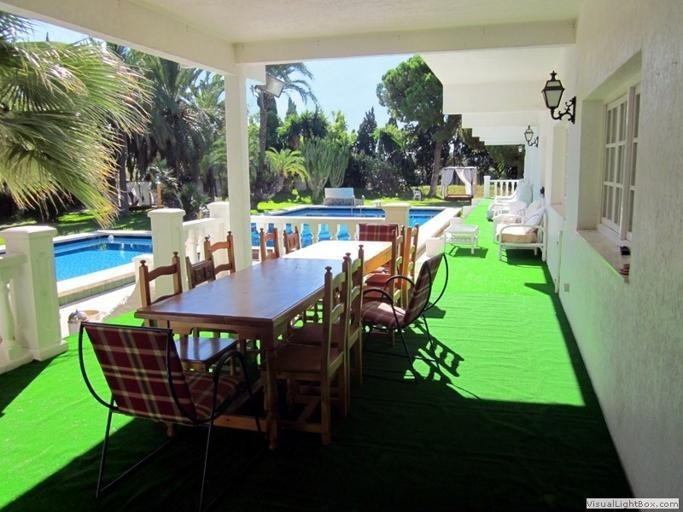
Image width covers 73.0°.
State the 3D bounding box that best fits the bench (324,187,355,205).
[{"bbox_3d":[-0.137,-3.293,25.588,1.671,0.889,1.037,1,12,9],"label":"bench"}]

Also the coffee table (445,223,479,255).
[{"bbox_3d":[2.654,-0.388,10.098,0.683,0.595,0.743,4,17,21],"label":"coffee table"}]

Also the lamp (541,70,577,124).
[{"bbox_3d":[2.695,-1.974,5.708,0.345,0.620,0.195,4,-1,22],"label":"lamp"}]
